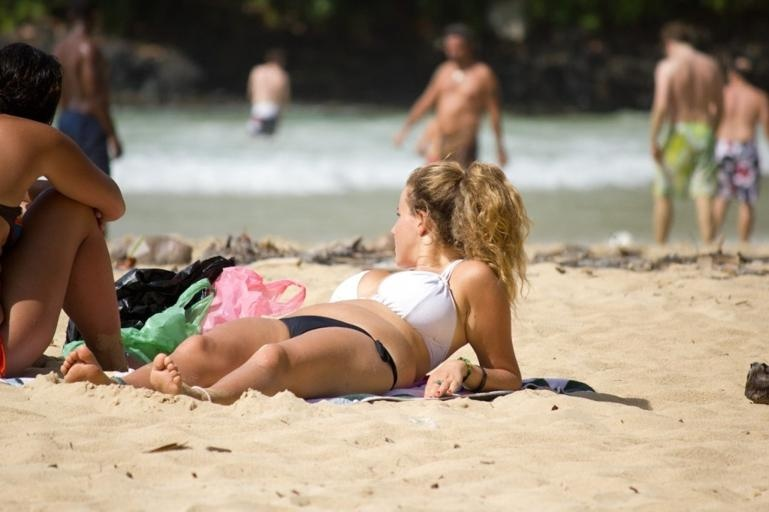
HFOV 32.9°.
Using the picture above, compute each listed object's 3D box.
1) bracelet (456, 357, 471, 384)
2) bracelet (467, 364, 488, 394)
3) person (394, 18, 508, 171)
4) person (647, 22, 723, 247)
[{"bbox_3d":[0.644,0.890,10.288,0.122,0.156,0.081,17,4,33],"label":"bracelet"},{"bbox_3d":[0.737,0.977,10.283,0.049,0.183,0.181,29,-51,-35],"label":"bracelet"},{"bbox_3d":[0.869,-1.823,14.871,1.059,1.588,0.751,2,4,2],"label":"person"},{"bbox_3d":[3.235,-1.295,13.993,0.764,2.350,0.404,2,4,3],"label":"person"}]
